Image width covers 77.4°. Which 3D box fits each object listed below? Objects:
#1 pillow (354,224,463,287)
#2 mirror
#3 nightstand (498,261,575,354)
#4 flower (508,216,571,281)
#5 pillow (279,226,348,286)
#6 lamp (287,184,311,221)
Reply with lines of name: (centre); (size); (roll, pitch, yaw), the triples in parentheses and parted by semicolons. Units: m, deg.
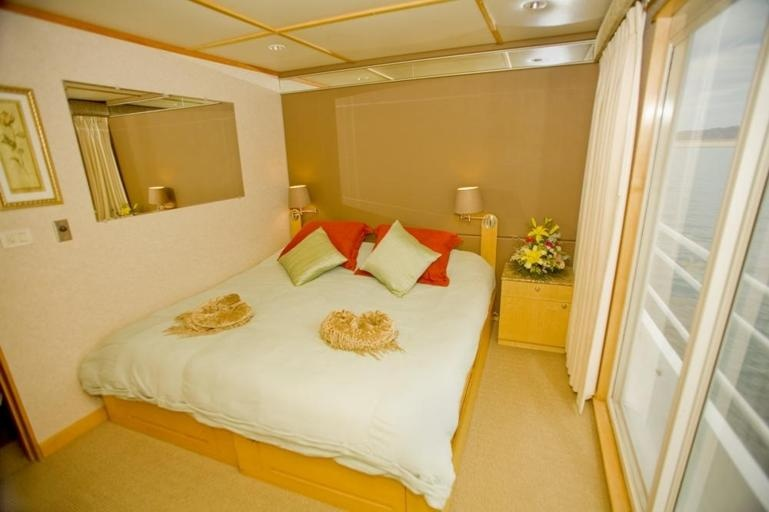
pillow: (0.465, -0.008, 4.656); (0.724, 0.204, 0.703); (9, 42, 18)
mirror: (-2.057, -0.922, 4.164); (0.024, 0.920, 1.403); (11, 20, 33)
nightstand: (1.487, 0.439, 4.891); (0.826, 0.920, 0.746); (3, 12, 21)
flower: (1.514, -0.045, 4.655); (0.529, 0.593, 0.220); (3, -20, 28)
pillow: (-0.701, 0.039, 4.582); (0.521, 0.149, 0.536); (-34, 45, -4)
lamp: (-1.015, -0.622, 5.507); (0.255, 0.348, 0.251); (-4, 16, -16)
